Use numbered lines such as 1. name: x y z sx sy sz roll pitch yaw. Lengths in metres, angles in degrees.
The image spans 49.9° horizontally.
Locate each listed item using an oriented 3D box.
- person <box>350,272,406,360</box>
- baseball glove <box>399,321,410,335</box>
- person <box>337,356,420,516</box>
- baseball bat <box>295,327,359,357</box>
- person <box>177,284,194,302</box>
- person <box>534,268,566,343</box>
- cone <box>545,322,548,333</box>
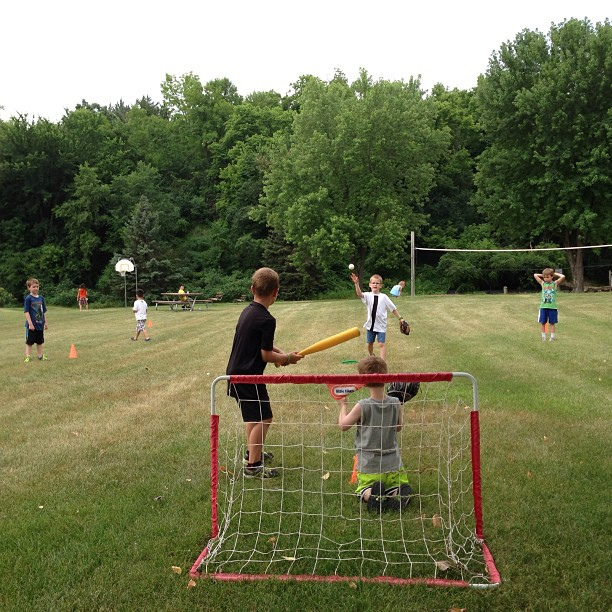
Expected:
1. person: 1.236 0.221 11.200 0.769 1.579 0.682 1 8 10
2. baseball glove: 1.756 0.403 11.767 0.184 0.331 0.113 -6 -4 27
3. person: 0.624 1.101 5.628 0.677 1.311 1.336 0 5 10
4. baseball bat: 0.359 0.644 11.260 1.227 0.204 0.195 -26 48 -13
5. person: -6.631 -0.660 36.115 0.861 0.805 0.960 -1 -3 -4
6. person: 5.463 -0.104 14.747 0.563 1.533 3.214 1 6 21
7. cone: 5.511 0.515 15.068 0.053 0.085 0.293 -11 44 21
